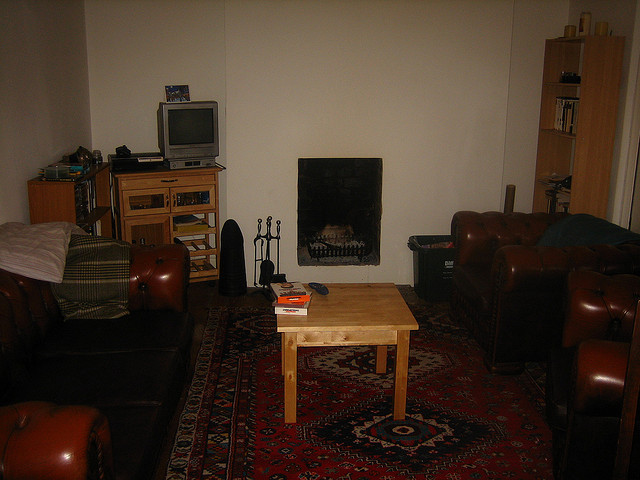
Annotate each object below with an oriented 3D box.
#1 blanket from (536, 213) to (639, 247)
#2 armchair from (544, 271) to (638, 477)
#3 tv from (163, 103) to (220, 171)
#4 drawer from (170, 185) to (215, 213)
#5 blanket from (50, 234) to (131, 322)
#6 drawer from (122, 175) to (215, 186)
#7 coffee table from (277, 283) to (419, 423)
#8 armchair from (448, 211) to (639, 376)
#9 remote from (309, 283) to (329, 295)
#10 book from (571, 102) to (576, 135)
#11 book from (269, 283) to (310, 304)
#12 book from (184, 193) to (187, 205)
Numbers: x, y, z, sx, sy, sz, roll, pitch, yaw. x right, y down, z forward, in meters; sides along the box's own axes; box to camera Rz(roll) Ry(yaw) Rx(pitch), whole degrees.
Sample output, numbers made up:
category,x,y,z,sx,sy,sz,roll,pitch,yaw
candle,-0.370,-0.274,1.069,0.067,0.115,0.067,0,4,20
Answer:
category,x,y,z,sx,sy,sz,roll,pitch,yaw
blanket,1.931,-0.056,3.792,0.340,0.136,0.451,-3,16,18
armchair,1.361,0.685,2.569,0.486,0.613,0.856,5,33,19
tv,-1.292,-1.047,5.028,0.549,0.607,0.392,-10,29,-28
drawer,-1.235,-0.394,4.988,0.449,0.249,0.275,-2,-2,-19
blanket,-1.440,0.260,3.196,0.482,0.498,0.154,3,-6,-23
drawer,-1.416,-0.561,4.837,0.833,0.065,0.035,-6,14,-18
coffee table,0.172,0.807,3.481,0.799,0.644,0.859,1,23,-1
armchair,1.518,-0.059,3.847,0.962,1.089,1.698,2,18,5
remote,0.003,0.339,3.638,0.118,0.052,0.219,-5,13,-16
book,2.363,-1.136,4.792,0.017,0.278,0.042,3,14,20
book,-0.202,0.356,3.469,0.229,0.050,0.365,-4,13,-11
book,-1.327,-0.406,5.063,0.024,0.100,0.082,-5,13,-14
